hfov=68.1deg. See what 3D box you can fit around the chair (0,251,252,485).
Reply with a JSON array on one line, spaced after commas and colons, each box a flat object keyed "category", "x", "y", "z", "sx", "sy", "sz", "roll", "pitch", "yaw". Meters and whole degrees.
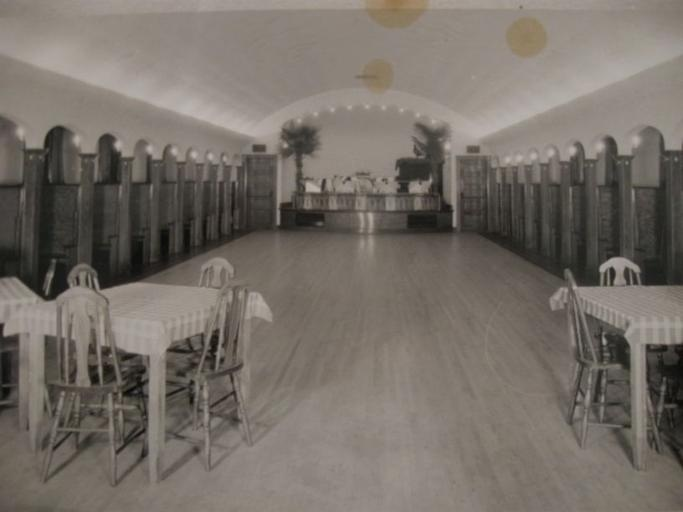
[{"category": "chair", "x": -1.859, "y": 0.917, "z": 4.731, "sx": 1.568, "sy": 1.460, "sz": 1.799, "roll": 9, "pitch": 13, "yaw": 37}]
